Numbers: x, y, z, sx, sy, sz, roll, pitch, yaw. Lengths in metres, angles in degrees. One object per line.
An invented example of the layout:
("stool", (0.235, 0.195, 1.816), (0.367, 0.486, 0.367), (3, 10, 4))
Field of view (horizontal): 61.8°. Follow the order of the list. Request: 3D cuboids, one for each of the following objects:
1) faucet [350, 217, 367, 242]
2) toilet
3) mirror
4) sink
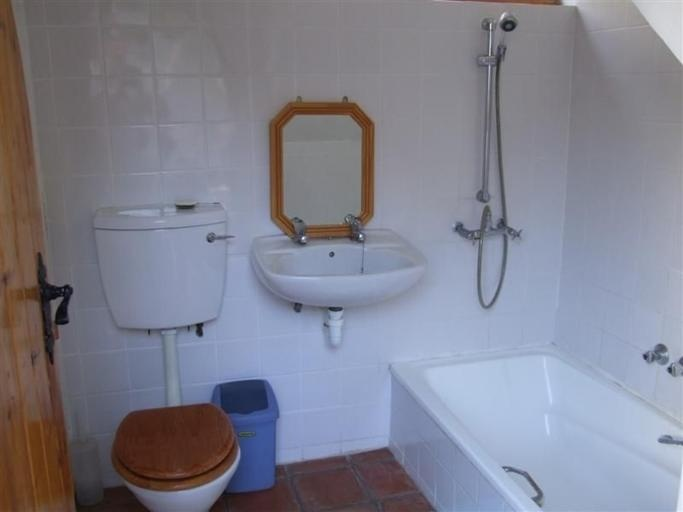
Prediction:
("faucet", (0.071, -0.123, 2.665), (0.034, 0.114, 0.077), (-1, 13, 46))
("toilet", (-0.691, 0.385, 2.325), (0.563, 1.096, 0.769), (-7, 17, -12))
("mirror", (-0.104, -0.429, 2.613), (0.586, 0.865, 0.057), (-1, 8, -9))
("sink", (-0.016, 0.095, 2.564), (0.763, 0.360, 0.413), (-7, 17, -10))
